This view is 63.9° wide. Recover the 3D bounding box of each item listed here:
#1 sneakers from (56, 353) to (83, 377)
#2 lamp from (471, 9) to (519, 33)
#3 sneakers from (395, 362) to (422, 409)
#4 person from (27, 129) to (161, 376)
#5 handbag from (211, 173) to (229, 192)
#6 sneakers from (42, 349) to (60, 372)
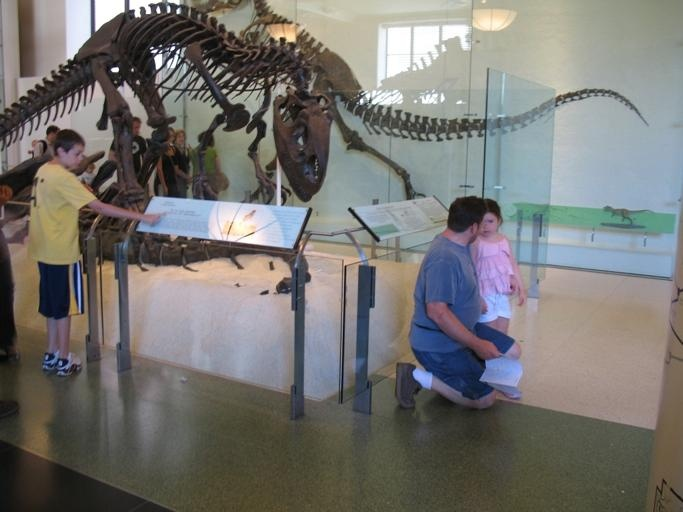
[{"bbox_3d":[-2.064,0.833,4.189,0.097,0.112,0.235,2,9,2],"label":"sneakers"},{"bbox_3d":[2.007,-3.187,7.264,0.269,0.319,1.016,11,17,37],"label":"lamp"},{"bbox_3d":[0.442,0.825,3.670,0.152,0.359,0.128,2,2,9],"label":"sneakers"},{"bbox_3d":[-1.982,-0.027,4.108,0.725,1.821,0.400,-3,13,-15],"label":"person"},{"bbox_3d":[-1.723,-1.072,7.853,0.192,0.228,0.164,-1,28,-15],"label":"handbag"},{"bbox_3d":[-2.230,0.817,4.195,0.083,0.102,0.214,1,-2,-7],"label":"sneakers"}]
